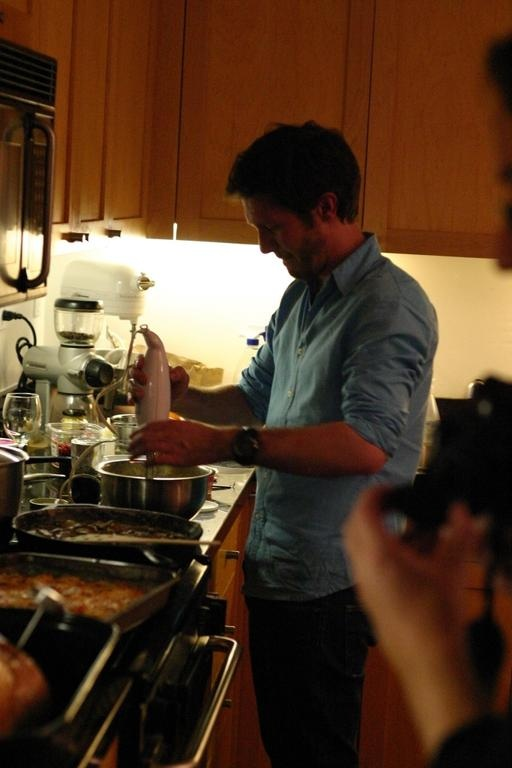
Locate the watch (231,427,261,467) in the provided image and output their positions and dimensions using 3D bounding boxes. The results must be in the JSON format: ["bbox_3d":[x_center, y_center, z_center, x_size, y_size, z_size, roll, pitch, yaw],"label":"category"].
[{"bbox_3d":[-0.020,0.109,1.076,0.054,0.058,0.020,3,-1,17],"label":"watch"}]

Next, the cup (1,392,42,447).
[{"bbox_3d":[-0.575,0.088,1.527,0.087,0.127,0.087,4,3,0],"label":"cup"}]

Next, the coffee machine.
[{"bbox_3d":[-0.544,-0.064,1.864,0.310,0.379,0.182,6,4,36],"label":"coffee machine"}]
